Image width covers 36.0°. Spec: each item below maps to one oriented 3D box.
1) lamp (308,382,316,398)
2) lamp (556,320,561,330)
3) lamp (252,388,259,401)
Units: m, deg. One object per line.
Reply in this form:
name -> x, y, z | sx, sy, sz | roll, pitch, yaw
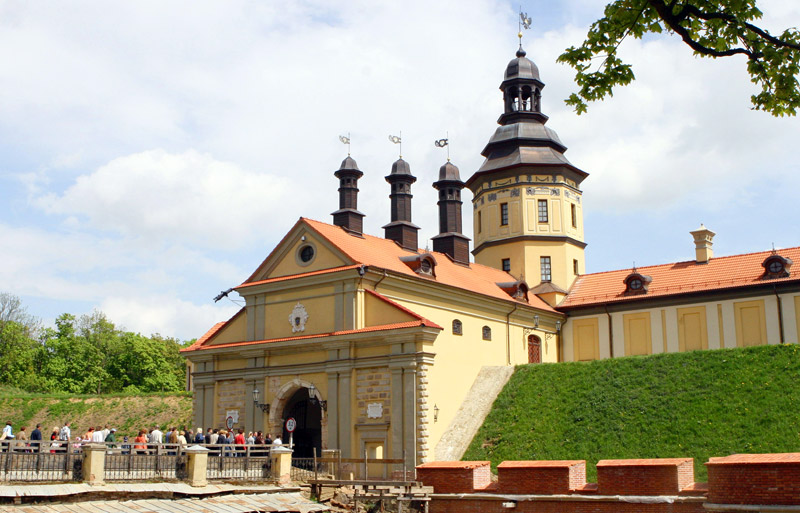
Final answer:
lamp -> -4.701, 7.192, 65.975 | 0.507, 0.660, 0.521 | 2, 14, 13
lamp -> 10.095, 4.243, 77.115 | 0.516, 0.651, 0.492 | -2, -6, 5
lamp -> -7.905, 7.506, 67.253 | 0.481, 0.534, 0.472 | -1, -7, 8
